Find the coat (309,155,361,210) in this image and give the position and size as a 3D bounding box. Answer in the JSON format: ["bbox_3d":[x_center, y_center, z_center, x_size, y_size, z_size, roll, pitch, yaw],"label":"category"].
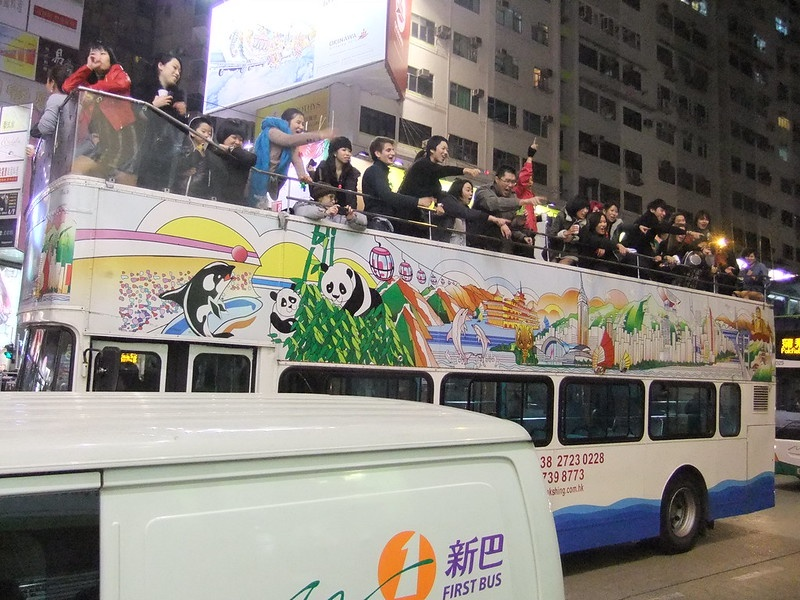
[{"bbox_3d":[-0.745,-1.426,8.335,0.435,0.536,0.932,0,30,-27],"label":"coat"}]

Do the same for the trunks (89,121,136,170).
[{"bbox_3d":[-2.570,-1.374,5.913,0.362,0.510,0.293,2,2,-26],"label":"trunks"}]

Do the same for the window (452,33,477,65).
[{"bbox_3d":[3.048,-12.085,31.804,0.084,1.128,1.842,-11,-5,33],"label":"window"}]

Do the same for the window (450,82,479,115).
[{"bbox_3d":[3.009,-9.646,31.630,0.073,1.031,1.671,-11,-19,39],"label":"window"}]

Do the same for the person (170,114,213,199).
[{"bbox_3d":[-1.981,-1.306,6.326,0.313,0.676,0.591,2,2,-14],"label":"person"}]

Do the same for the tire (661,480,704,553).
[{"bbox_3d":[4.187,3.202,9.868,0.391,1.221,1.144,-5,-3,38],"label":"tire"}]

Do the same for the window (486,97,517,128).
[{"bbox_3d":[5.048,-9.467,33.434,0.071,0.889,1.826,-5,-7,36],"label":"window"}]

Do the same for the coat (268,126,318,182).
[{"bbox_3d":[-1.461,-1.941,8.542,0.687,0.571,0.527,18,36,13],"label":"coat"}]

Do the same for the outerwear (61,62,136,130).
[{"bbox_3d":[-3.390,-2.279,7.539,0.621,0.804,0.442,-4,-2,2],"label":"outerwear"}]
